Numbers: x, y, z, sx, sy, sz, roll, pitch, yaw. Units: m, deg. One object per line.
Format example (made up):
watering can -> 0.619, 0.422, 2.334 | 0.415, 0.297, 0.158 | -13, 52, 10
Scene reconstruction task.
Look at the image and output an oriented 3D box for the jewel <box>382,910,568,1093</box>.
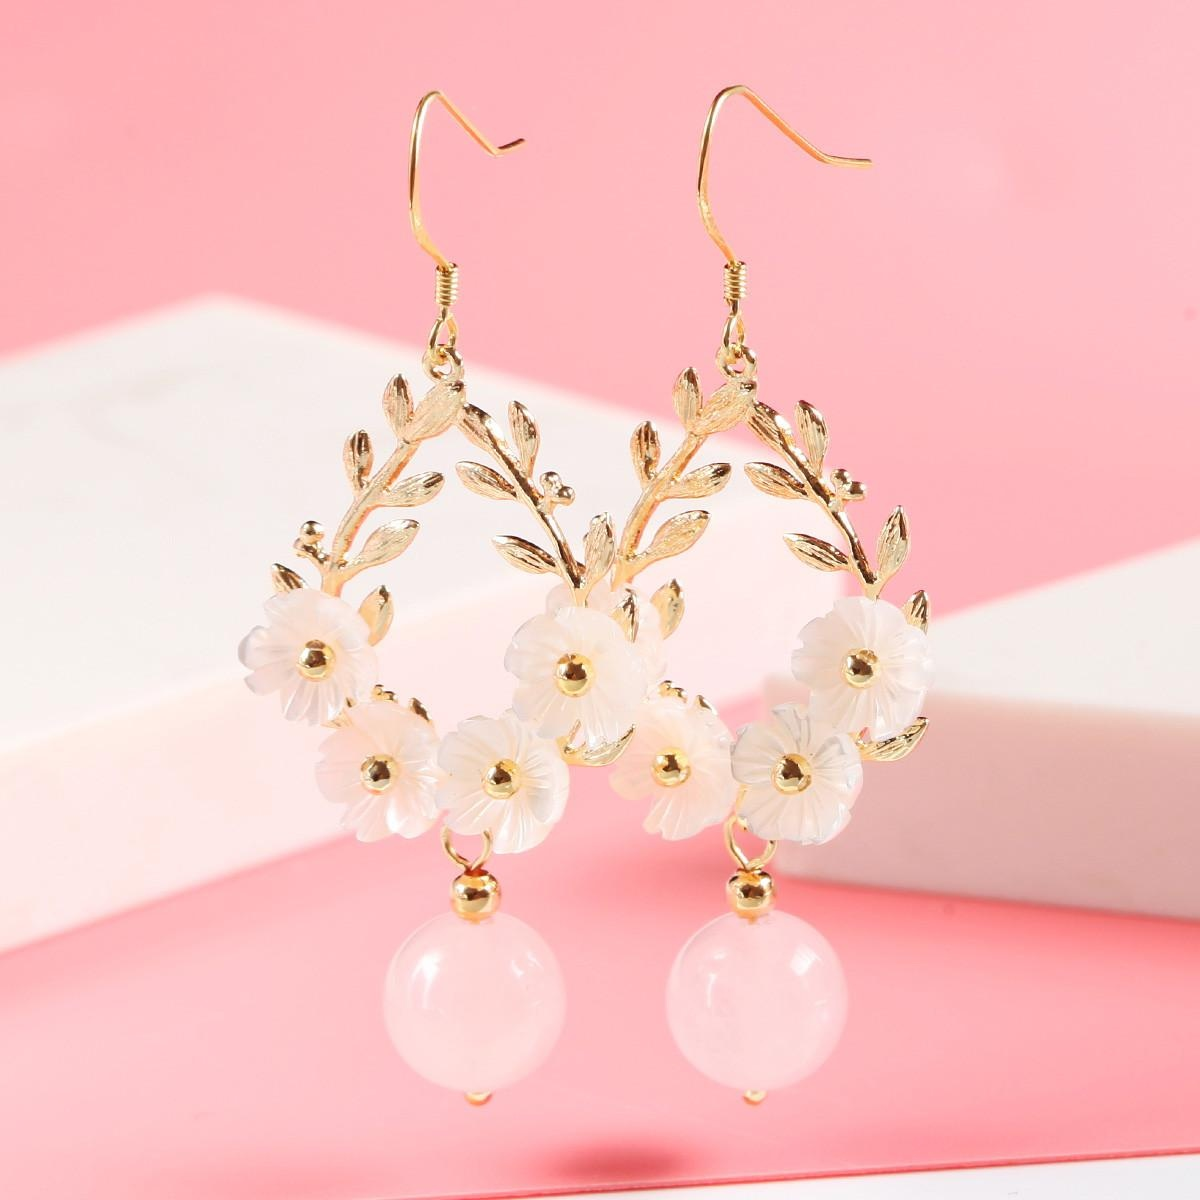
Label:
jewel -> -0.088, 0.246, 0.946 | 0.142, 0.119, 0.112 | 4, -93, -2
